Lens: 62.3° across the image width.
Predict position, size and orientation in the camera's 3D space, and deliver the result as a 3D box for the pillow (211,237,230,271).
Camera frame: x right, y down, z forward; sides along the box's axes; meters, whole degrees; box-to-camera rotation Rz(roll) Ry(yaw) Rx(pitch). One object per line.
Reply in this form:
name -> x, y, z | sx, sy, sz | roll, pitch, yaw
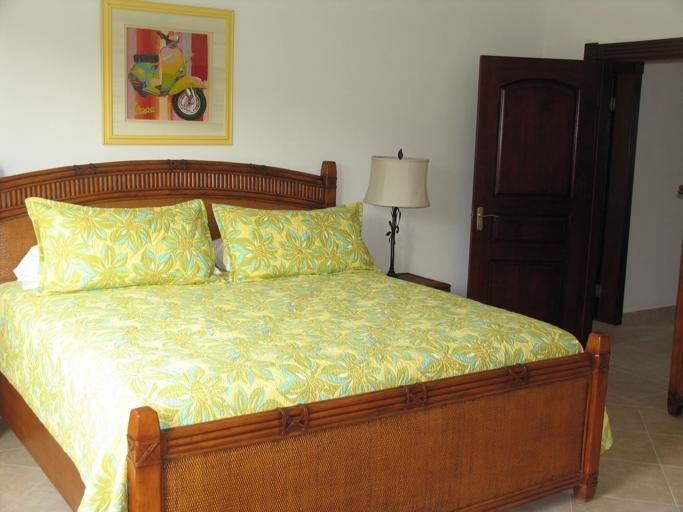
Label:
pillow -> -0.778, -0.013, 3.675 | 0.079, 0.197, 0.178 | -6, 2, 30
